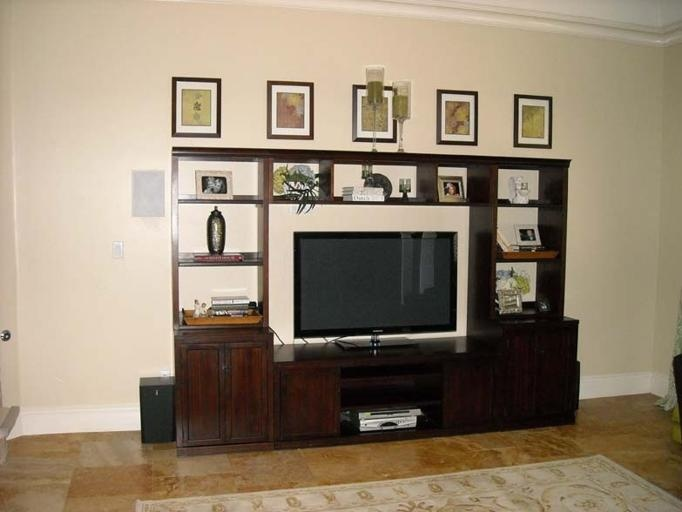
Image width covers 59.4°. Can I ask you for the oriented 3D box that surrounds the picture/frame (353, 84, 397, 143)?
[{"bbox_3d":[0.284,-1.284,5.369,0.498,0.642,0.044,-3,6,-16],"label":"picture/frame"}]

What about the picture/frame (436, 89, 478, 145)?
[{"bbox_3d":[1.074,-1.307,5.611,0.473,0.606,0.041,1,2,-5],"label":"picture/frame"}]

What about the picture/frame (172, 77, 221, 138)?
[{"bbox_3d":[-1.255,-1.269,5.185,0.407,0.515,0.012,-5,39,-20],"label":"picture/frame"}]

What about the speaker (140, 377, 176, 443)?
[{"bbox_3d":[-1.559,1.383,5.019,0.278,0.502,0.265,6,-42,-28],"label":"speaker"}]

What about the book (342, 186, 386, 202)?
[{"bbox_3d":[0.199,-0.524,5.136,0.190,0.096,0.193,-1,4,-28],"label":"book"}]

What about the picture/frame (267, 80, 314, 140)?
[{"bbox_3d":[-0.473,-1.299,5.314,0.480,0.614,0.040,0,4,-7],"label":"picture/frame"}]

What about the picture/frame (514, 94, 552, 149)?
[{"bbox_3d":[1.838,-1.305,5.769,0.474,0.608,0.029,-1,4,-12],"label":"picture/frame"}]
